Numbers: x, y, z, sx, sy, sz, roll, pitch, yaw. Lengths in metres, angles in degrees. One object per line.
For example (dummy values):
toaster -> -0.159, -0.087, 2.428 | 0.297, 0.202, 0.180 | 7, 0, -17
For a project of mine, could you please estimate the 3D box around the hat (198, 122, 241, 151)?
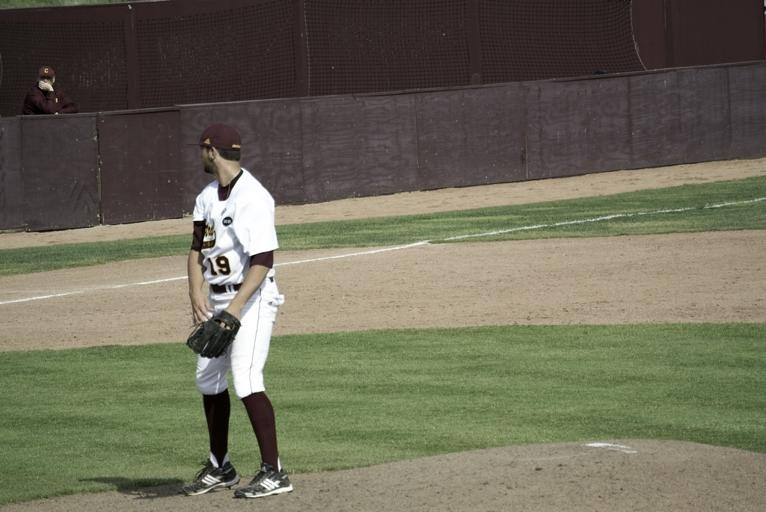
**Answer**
hat -> -2.845, -2.008, 30.016 | 0.617, 0.315, 0.439 | 12, 13, 22

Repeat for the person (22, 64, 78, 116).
person -> -8.455, -4.054, 43.697 | 1.229, 1.120, 0.547 | -6, 12, -13

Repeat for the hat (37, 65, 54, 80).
hat -> -8.538, -4.499, 43.928 | 0.469, 0.343, 0.655 | 6, 7, -15
